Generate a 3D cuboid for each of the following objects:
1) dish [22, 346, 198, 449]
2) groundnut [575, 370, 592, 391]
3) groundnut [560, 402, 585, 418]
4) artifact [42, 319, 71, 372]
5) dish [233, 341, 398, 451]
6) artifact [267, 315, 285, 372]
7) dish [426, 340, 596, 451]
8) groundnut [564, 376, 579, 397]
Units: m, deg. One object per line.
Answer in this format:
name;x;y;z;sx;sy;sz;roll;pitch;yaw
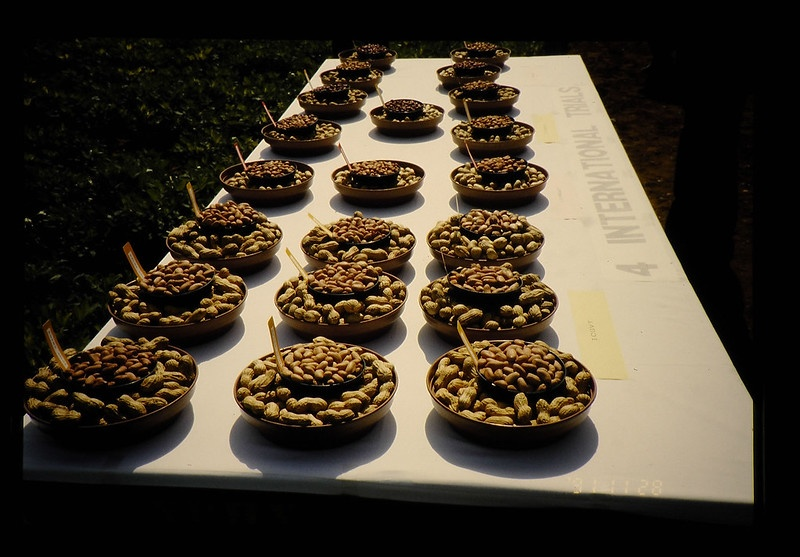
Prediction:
dish;-1.102;0.421;2.794;0.546;0.237;0.546;10;20;14
groundnut;0.679;0.375;2.768;0.056;0.069;0.073;13;42;26
groundnut;0.612;0.467;2.674;0.083;0.033;0.040;-9;52;-7
artifact;-1.278;0.250;2.739;0.047;0.044;0.253;-37;41;5
dish;-0.300;0.395;2.907;0.622;0.262;0.613;-4;8;37
artifact;-0.465;0.245;2.790;0.010;0.209;0.045;-4;18;23
dish;0.454;0.434;2.801;0.553;0.226;0.525;2;9;-3
groundnut;0.622;0.395;2.753;0.063;0.024;0.059;15;41;-23
